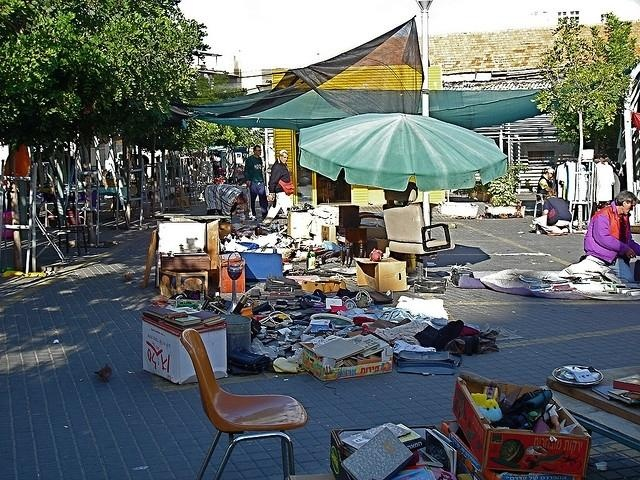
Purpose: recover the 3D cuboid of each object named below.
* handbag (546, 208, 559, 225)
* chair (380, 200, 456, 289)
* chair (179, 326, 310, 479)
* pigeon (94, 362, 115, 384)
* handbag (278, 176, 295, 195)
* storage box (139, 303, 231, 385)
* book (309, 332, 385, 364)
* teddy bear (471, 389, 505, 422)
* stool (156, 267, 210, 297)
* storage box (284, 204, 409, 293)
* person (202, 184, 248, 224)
[{"bbox_3d":[7.157,-0.659,18.847,0.264,0.500,0.364,-7,6,-25],"label":"handbag"},{"bbox_3d":[1.922,0.107,11.944,1.079,1.778,1.285,-6,9,-23],"label":"chair"},{"bbox_3d":[-0.569,1.300,4.499,0.917,1.296,0.789,-4,5,7],"label":"chair"},{"bbox_3d":[-2.397,1.518,6.829,0.221,0.165,0.224,9,26,44],"label":"pigeon"},{"bbox_3d":[-1.063,-1.628,19.101,0.486,0.494,0.368,-5,9,-2],"label":"handbag"},{"bbox_3d":[-1.598,1.223,7.048,0.621,0.734,1.007,-4,7,-44],"label":"storage box"},{"bbox_3d":[0.332,1.277,7.138,0.538,0.133,0.345,-5,14,-11],"label":"book"},{"bbox_3d":[1.210,1.213,4.438,0.145,0.170,0.205,10,-7,-13],"label":"teddy bear"},{"bbox_3d":[-2.319,0.750,10.331,0.560,0.362,0.575,-1,0,1],"label":"stool"},{"bbox_3d":[0.541,0.100,13.149,2.372,1.502,5.064,-5,6,-4],"label":"storage box"},{"bbox_3d":[-2.644,-0.983,16.581,1.022,1.091,0.871,1,27,-13],"label":"person"}]
